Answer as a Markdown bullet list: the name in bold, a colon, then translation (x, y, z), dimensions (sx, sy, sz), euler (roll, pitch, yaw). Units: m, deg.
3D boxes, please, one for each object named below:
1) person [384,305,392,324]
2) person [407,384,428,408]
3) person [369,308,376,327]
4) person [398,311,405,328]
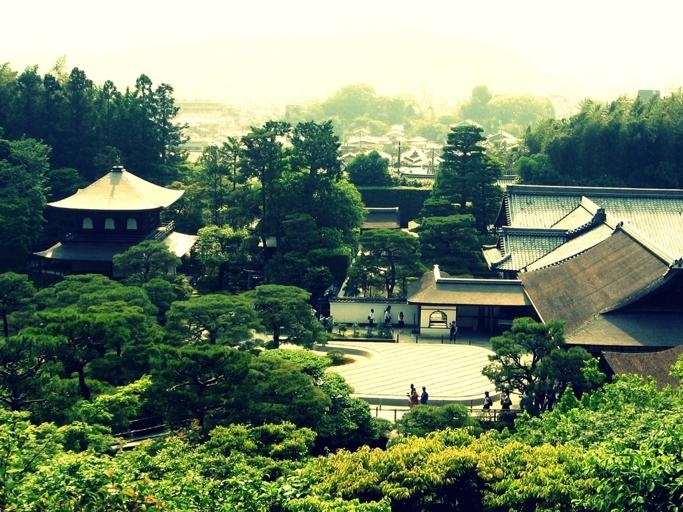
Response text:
- **person**: translation (2.839, 3.583, 90.551), dimensions (0.457, 1.162, 0.891), euler (0, -3, 0)
- **person**: translation (3.978, 7.447, 77.817), dimensions (1.221, 1.425, 0.591), euler (-1, -9, -17)
- **person**: translation (1.856, 3.752, 90.630), dimensions (0.289, 1.077, 0.939), euler (0, -3, 7)
- **person**: translation (3.654, 3.894, 90.598), dimensions (0.401, 1.037, 0.940), euler (0, -3, 5)
